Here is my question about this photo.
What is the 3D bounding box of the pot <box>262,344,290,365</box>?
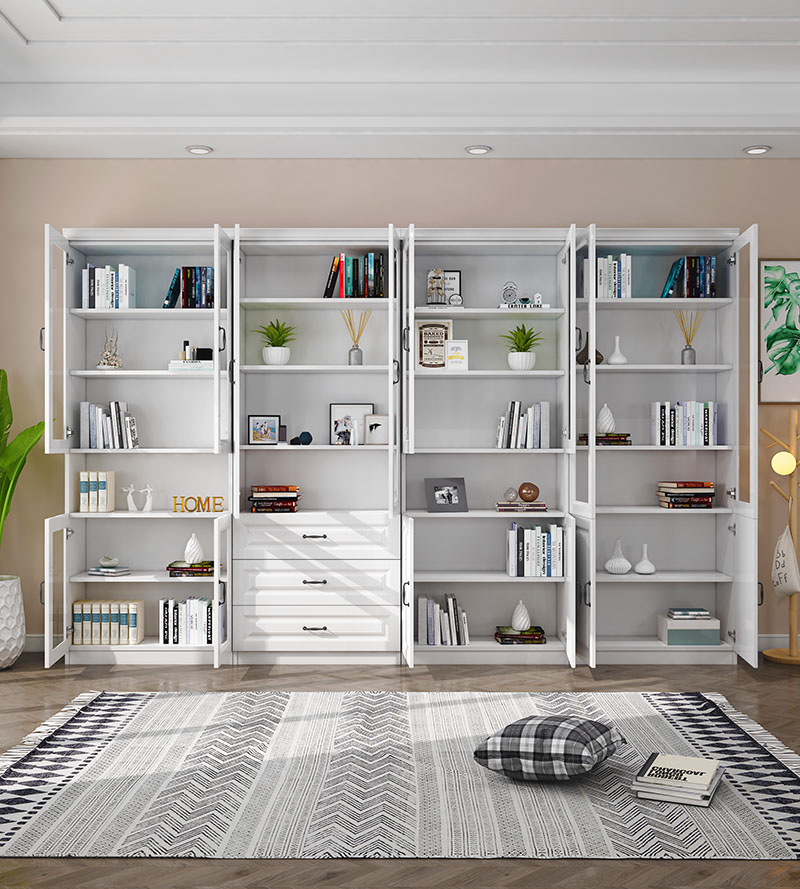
[{"bbox_3d":[-0.696,-0.492,4.780,0.115,0.083,0.115,1,-2,0],"label":"pot"}]

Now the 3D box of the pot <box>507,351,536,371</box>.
[{"bbox_3d":[0.677,-0.468,4.783,0.110,0.081,0.115,1,-5,0],"label":"pot"}]

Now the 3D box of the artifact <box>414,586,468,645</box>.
[{"bbox_3d":[0.207,0.941,4.760,0.301,0.351,0.237,0,-3,-3],"label":"artifact"}]

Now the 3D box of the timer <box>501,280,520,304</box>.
[{"bbox_3d":[0.633,-0.876,4.897,0.102,0.162,0.201,0,2,7],"label":"timer"}]

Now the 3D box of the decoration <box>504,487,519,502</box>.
[{"bbox_3d":[0.638,0.291,4.903,0.061,0.067,0.016,-2,-38,-4],"label":"decoration"}]

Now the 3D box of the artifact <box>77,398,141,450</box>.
[{"bbox_3d":[-1.659,-0.086,4.841,0.241,0.365,0.343,-1,0,3],"label":"artifact"}]

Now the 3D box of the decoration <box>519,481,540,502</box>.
[{"bbox_3d":[0.745,0.275,4.866,0.127,0.101,0.101,-1,2,-11],"label":"decoration"}]

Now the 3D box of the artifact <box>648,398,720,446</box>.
[{"bbox_3d":[1.616,-0.102,4.807,0.319,0.339,0.239,1,-1,-6],"label":"artifact"}]

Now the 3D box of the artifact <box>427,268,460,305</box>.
[{"bbox_3d":[0.245,-0.899,4.848,0.195,0.207,0.072,0,2,-1],"label":"artifact"}]

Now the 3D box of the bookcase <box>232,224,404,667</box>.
[{"bbox_3d":[-0.471,0.004,4.754,0.950,2.399,0.549,0,1,1],"label":"bookcase"}]

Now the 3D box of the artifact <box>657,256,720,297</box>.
[{"bbox_3d":[1.647,-0.925,4.837,0.209,0.325,0.291,0,-16,-4],"label":"artifact"}]

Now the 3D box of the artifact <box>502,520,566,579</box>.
[{"bbox_3d":[0.732,0.598,4.693,0.325,0.358,0.255,0,-1,-2],"label":"artifact"}]

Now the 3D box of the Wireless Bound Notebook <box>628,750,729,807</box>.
[{"bbox_3d":[0.983,1.175,2.989,0.318,0.094,0.251,0,2,16],"label":"Wireless Bound Notebook"}]

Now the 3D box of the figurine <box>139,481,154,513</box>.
[{"bbox_3d":[-1.490,0.300,4.941,0.142,0.184,0.060,2,4,12],"label":"figurine"}]

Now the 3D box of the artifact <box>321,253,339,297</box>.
[{"bbox_3d":[-0.384,-0.949,4.771,0.045,0.213,0.207,9,17,-5],"label":"artifact"}]

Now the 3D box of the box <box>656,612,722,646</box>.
[{"bbox_3d":[1.619,0.999,4.762,0.208,0.121,0.222,0,0,0],"label":"box"}]

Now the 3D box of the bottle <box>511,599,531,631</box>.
[{"bbox_3d":[0.678,0.976,4.852,0.125,0.199,0.132,0,2,0],"label":"bottle"}]

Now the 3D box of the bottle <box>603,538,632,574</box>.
[{"bbox_3d":[1.244,0.629,4.855,0.169,0.246,0.169,0,1,0],"label":"bottle"}]

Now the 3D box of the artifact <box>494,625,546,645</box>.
[{"bbox_3d":[0.671,1.075,4.798,0.281,0.072,0.204,0,2,-2],"label":"artifact"}]

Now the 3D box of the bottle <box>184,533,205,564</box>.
[{"bbox_3d":[-1.172,0.595,4.828,0.126,0.191,0.134,1,3,0],"label":"bottle"}]

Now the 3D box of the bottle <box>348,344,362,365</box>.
[{"bbox_3d":[-0.248,-0.509,4.833,0.092,0.170,0.103,1,0,3],"label":"bottle"}]

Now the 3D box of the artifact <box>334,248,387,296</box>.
[{"bbox_3d":[-0.224,-0.961,4.763,0.267,0.275,0.064,0,2,2],"label":"artifact"}]
